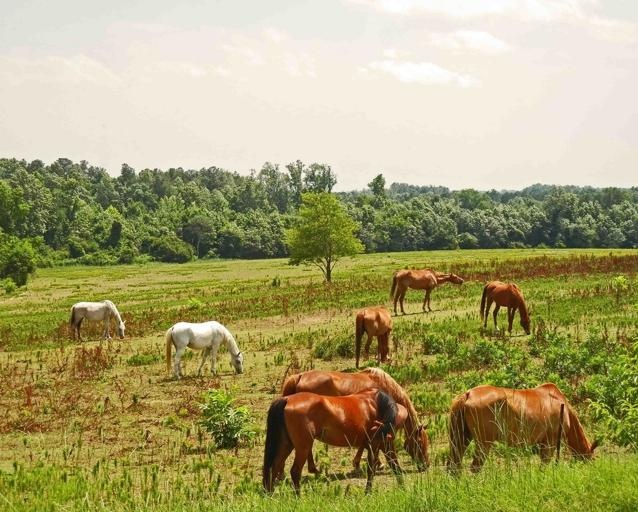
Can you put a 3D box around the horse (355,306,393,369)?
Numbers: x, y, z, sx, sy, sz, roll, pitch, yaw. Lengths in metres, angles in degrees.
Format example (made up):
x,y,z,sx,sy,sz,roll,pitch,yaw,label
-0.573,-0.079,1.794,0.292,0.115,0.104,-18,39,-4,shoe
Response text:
x,y,z,sx,sy,sz,roll,pitch,yaw,label
2.155,3.216,34.165,1.643,2.336,1.192,0,-2,-15,horse

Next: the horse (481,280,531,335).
x,y,z,sx,sy,sz,roll,pitch,yaw,label
8.395,2.337,38.606,0.748,2.412,3.318,0,7,-28,horse

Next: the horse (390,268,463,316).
x,y,z,sx,sy,sz,roll,pitch,yaw,label
5.633,1.855,45.098,3.512,2.779,0.980,3,17,0,horse
